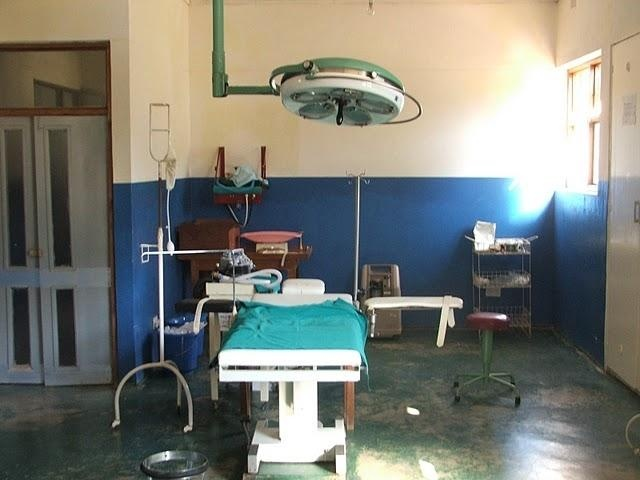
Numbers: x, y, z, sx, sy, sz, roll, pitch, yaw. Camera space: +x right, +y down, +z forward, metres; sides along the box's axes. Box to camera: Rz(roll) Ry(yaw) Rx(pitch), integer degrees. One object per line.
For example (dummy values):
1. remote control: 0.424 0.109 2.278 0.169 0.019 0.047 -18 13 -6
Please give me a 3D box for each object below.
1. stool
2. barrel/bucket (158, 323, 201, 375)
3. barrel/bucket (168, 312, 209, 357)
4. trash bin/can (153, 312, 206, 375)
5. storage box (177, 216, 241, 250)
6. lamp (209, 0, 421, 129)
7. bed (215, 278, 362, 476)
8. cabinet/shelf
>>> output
1. stool: 1.622 1.108 6.059 0.630 0.826 0.873 -2 4 13
2. barrel/bucket: -1.466 1.125 6.517 0.503 0.469 0.448 0 -3 1
3. barrel/bucket: -1.431 1.035 6.588 0.400 0.399 0.529 11 15 11
4. trash bin/can: -1.486 1.074 6.519 0.525 0.564 0.564 0 0 -41
5. storage box: -1.447 -0.157 7.351 0.718 0.360 0.717 6 18 -17
6. lamp: -0.071 -1.084 4.533 1.304 0.932 0.943 1 -3 5
7. bed: -0.151 1.173 4.777 1.029 1.349 1.124 -2 4 5
8. cabinet/shelf: 2.177 0.570 7.328 1.060 1.520 0.497 0 3 0
